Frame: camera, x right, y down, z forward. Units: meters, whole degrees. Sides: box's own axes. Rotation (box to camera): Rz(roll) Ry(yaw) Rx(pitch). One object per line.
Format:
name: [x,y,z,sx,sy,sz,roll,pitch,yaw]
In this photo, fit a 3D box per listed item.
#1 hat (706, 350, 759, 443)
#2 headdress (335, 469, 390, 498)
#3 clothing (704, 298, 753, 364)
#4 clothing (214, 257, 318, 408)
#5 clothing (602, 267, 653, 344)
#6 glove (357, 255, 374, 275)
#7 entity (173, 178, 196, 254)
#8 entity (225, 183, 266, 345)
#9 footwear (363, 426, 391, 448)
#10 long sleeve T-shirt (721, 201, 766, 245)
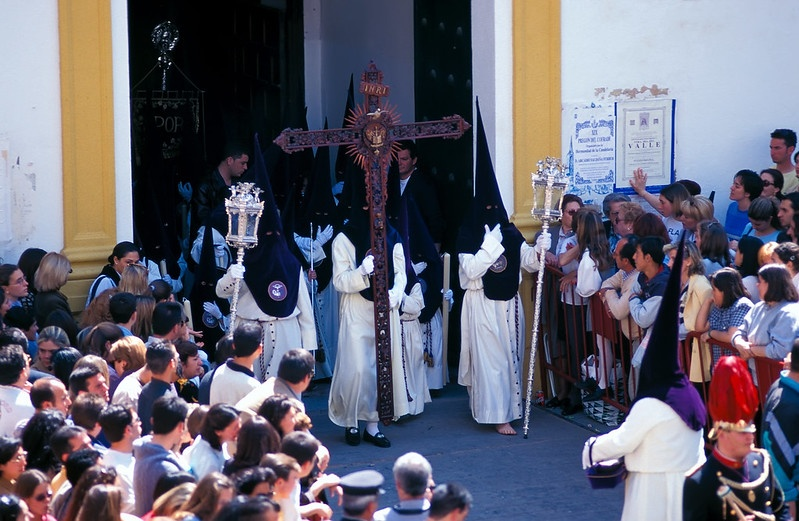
hat: [2.482,1.000,7.447,0.344,0.594,0.364,-1,7,19]
headdress: [-0.270,1.572,7.029,0.286,0.170,0.258,-3,11,-7]
clothing: [2.956,0.609,8.904,0.359,0.692,0.572,-1,1,-16]
clothing: [-1.388,0.675,10.490,1.016,1.583,0.771,2,-13,-13]
clothing: [2.356,0.559,10.219,0.380,1.139,0.434,-5,45,21]
glove: [-0.334,0.034,10.047,0.066,0.189,0.135,-2,1,35]
entity: [-2.943,-0.523,13.626,0.237,1.061,0.211,3,8,5]
entity: [-1.495,-0.012,9.682,0.414,1.506,1.180,-4,11,-8]
footwear: [-0.242,1.800,10.292,0.124,0.140,0.338,-5,9,-41]
long sleeve T-shirt: [3.715,-0.405,10.717,0.282,0.537,0.397,-7,18,-32]
